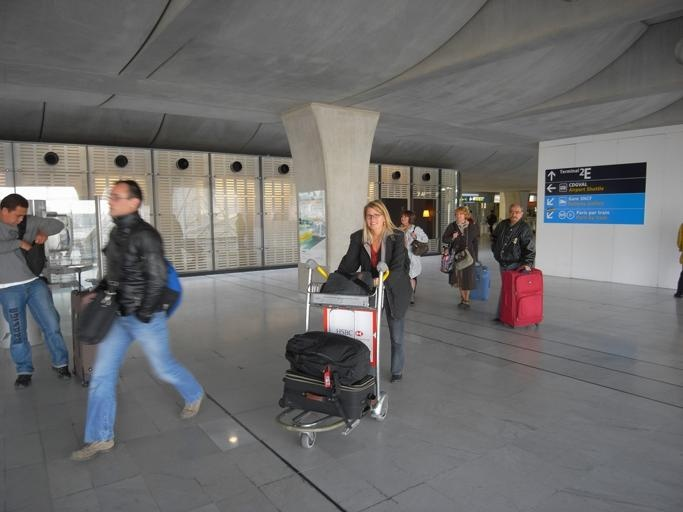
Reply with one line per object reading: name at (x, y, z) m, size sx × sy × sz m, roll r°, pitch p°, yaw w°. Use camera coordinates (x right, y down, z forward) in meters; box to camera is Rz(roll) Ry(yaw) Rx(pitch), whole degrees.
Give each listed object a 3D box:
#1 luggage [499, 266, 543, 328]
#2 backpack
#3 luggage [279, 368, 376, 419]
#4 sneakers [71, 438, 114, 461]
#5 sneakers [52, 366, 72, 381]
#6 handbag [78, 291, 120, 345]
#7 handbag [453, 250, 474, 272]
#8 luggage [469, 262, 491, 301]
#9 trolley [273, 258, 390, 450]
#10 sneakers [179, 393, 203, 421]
luggage at (3.057, 0.670, 7.111) m, size 0.620 × 0.961 × 0.492 m, roll -5°, pitch 8°, yaw -12°
backpack at (-0.124, 0.892, 3.812) m, size 0.831 × 0.303 × 0.593 m, roll 4°, pitch 11°, yaw 25°
luggage at (-0.163, 1.117, 3.582) m, size 0.585 × 0.234 × 0.463 m, roll 2°, pitch 1°, yaw 31°
sneakers at (-2.134, 1.647, 3.652) m, size 0.358 × 0.159 × 0.130 m, roll 0°, pitch 7°, yaw -41°
sneakers at (-3.389, 1.407, 5.057) m, size 0.302 × 0.142 × 0.110 m, roll 2°, pitch 1°, yaw 32°
handbag at (-2.020, 0.487, 3.539) m, size 0.244 × 0.492 × 0.146 m, roll 12°, pitch -38°, yaw -3°
handbag at (2.384, 0.088, 8.225) m, size 0.101 × 0.289 × 0.309 m, roll 17°, pitch -45°, yaw -42°
luggage at (2.993, 0.578, 9.131) m, size 0.429 × 0.722 × 0.470 m, roll 3°, pitch 0°, yaw 42°
trolley at (-0.056, 0.803, 3.871) m, size 1.132 × 1.347 × 1.118 m, roll 0°, pitch 0°, yaw -21°
sneakers at (-1.497, 1.510, 4.189) m, size 0.152 × 0.089 × 0.314 m, roll 0°, pitch 20°, yaw 5°
